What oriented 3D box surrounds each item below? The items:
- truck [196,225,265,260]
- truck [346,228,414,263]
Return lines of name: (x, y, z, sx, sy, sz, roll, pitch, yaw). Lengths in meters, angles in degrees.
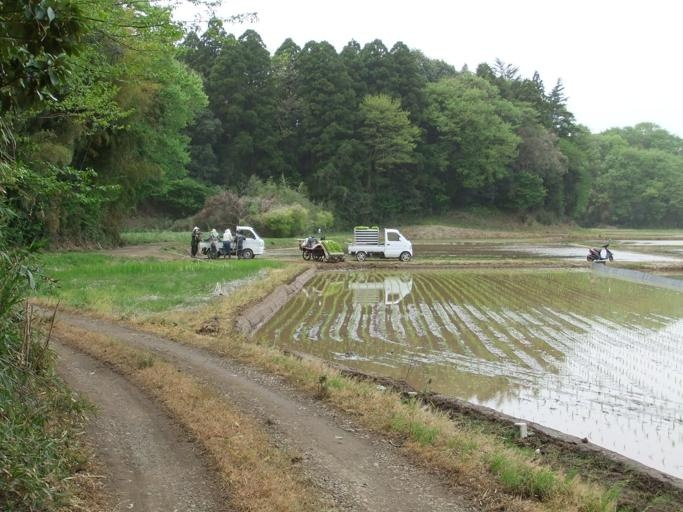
truck: (-5.263, -0.500, 31.550, 2.972, 1.838, 1.519, -1, 11, -11)
truck: (1.913, -0.609, 34.022, 3.075, 1.910, 1.636, 0, 2, -2)
